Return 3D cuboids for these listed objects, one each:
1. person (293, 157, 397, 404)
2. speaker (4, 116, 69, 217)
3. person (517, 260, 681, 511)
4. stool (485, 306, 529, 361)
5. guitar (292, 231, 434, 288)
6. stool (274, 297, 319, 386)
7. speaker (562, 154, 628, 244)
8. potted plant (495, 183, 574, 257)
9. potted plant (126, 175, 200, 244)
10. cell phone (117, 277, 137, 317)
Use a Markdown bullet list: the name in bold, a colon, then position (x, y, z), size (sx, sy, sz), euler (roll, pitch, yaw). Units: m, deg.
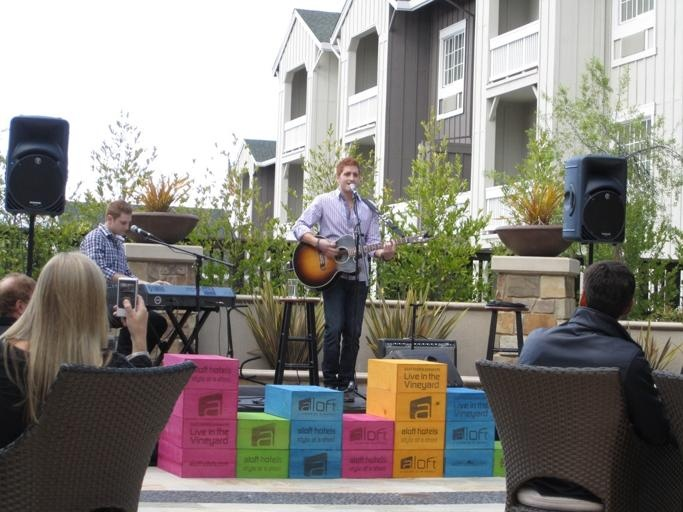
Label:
- **person**: position (0.028, 0.111, 7.755), size (0.740, 2.452, 0.701), euler (1, -2, -11)
- **speaker**: position (-2.623, -0.747, 7.952), size (0.525, 0.885, 0.497), euler (0, 14, -21)
- **person**: position (1.380, 0.557, 4.908), size (0.658, 1.468, 0.693), euler (3, 3, 38)
- **stool**: position (1.588, 0.646, 8.864), size (0.364, 0.775, 0.381), euler (-1, 1, 19)
- **guitar**: position (0.181, -0.007, 7.836), size (1.126, 0.187, 0.567), euler (-13, 47, -4)
- **stool**: position (-0.370, 0.764, 8.081), size (0.407, 0.787, 0.441), euler (0, -5, 39)
- **speaker**: position (2.265, -0.501, 8.210), size (0.419, 0.854, 0.413), euler (3, 1, -18)
- **potted plant**: position (2.007, -0.386, 9.706), size (0.679, 0.783, 0.743), euler (1, -5, -2)
- **potted plant**: position (-1.743, -0.426, 9.034), size (0.658, 1.010, 0.744), euler (2, -6, -4)
- **cell phone**: position (-1.266, 0.242, 5.473), size (0.116, 0.269, 0.024), euler (0, 33, -18)
